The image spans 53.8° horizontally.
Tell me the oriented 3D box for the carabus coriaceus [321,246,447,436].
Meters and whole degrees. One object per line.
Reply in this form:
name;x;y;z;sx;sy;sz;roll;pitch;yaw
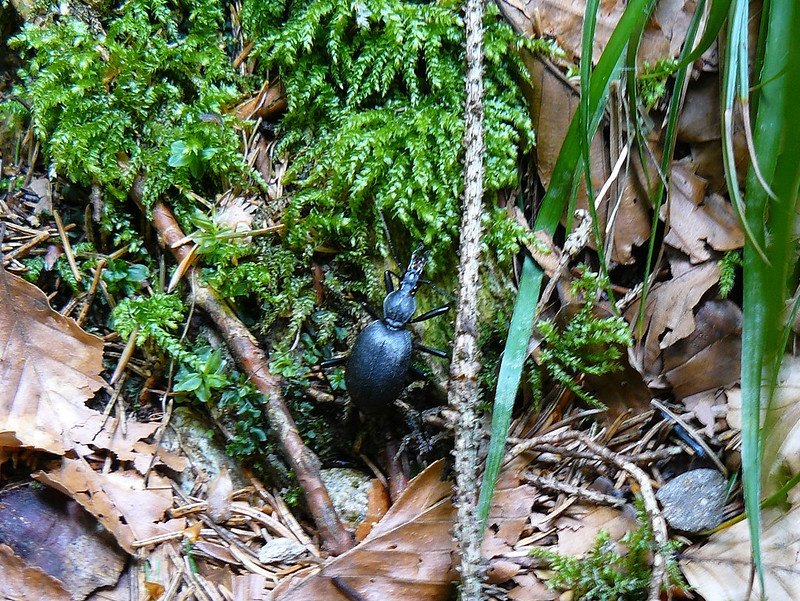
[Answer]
carabus coriaceus;-0.089;0.241;4.101;0.621;0.223;0.874;15;82;4
